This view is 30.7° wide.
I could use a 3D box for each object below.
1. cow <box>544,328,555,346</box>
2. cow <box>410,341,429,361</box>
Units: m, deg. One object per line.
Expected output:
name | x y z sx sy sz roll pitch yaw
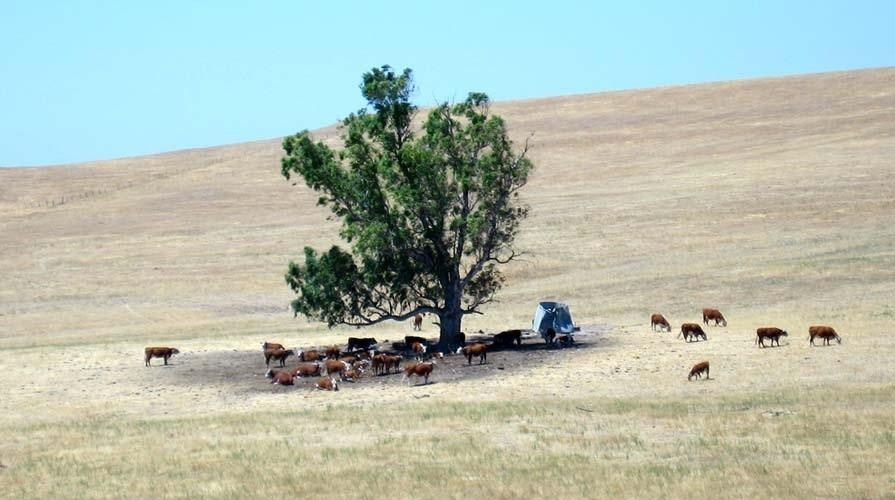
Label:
cow | 13.924 11.447 221.124 1.425 2.240 0.823 -5 0 -25
cow | -3.776 13.283 218.916 1.826 2.379 1.852 -5 0 4
